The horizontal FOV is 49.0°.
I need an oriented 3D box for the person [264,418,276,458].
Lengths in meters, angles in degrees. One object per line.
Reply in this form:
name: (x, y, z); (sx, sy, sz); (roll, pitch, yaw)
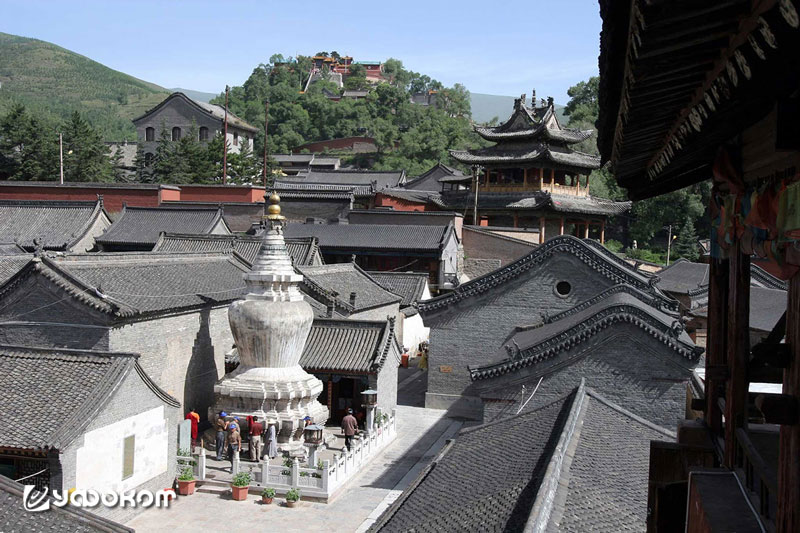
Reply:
person: (-3.253, 4.305, 22.066); (0.313, 0.856, 0.658); (0, 1, -9)

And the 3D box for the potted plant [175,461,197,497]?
potted plant: (-4.914, 4.881, 20.128); (0.533, 0.451, 0.533); (5, 1, 29)

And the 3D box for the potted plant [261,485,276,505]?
potted plant: (-2.982, 5.154, 19.794); (0.293, 0.335, 0.289); (0, 1, -14)

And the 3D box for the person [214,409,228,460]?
person: (-4.500, 4.216, 22.092); (0.271, 1.039, 0.872); (0, 1, -11)

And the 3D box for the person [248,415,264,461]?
person: (-3.588, 4.286, 21.861); (0.331, 0.960, 0.668); (0, 1, -9)

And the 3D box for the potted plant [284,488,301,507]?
potted plant: (-2.425, 5.174, 19.563); (0.348, 0.333, 0.343); (-4, 9, -38)

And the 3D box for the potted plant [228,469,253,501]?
potted plant: (-3.684, 4.973, 20.115); (0.563, 0.752, 0.614); (0, -2, 40)
